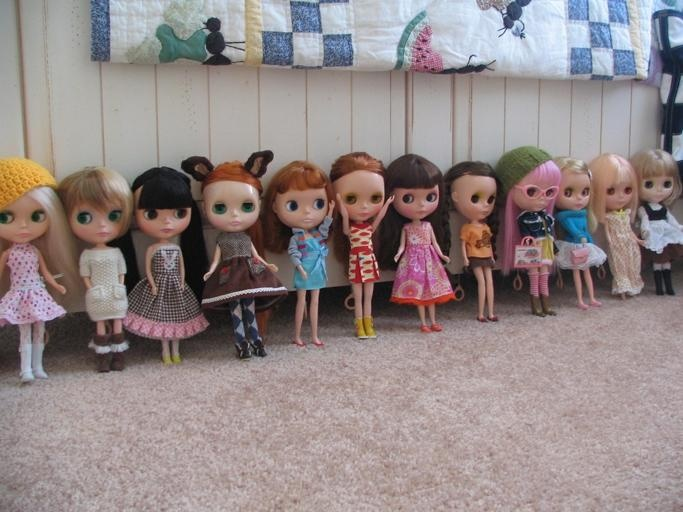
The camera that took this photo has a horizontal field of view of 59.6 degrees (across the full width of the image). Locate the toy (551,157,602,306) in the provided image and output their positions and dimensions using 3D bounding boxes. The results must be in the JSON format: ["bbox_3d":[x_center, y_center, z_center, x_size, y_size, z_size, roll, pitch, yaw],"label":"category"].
[{"bbox_3d":[1.668,-0.174,4.167,0.380,1.008,0.393,-1,11,-1],"label":"toy"}]

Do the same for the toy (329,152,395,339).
[{"bbox_3d":[0.123,-0.078,3.729,0.381,1.115,0.393,-1,11,0],"label":"toy"}]

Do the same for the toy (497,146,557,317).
[{"bbox_3d":[1.240,-0.171,4.020,0.409,1.097,0.274,2,11,16],"label":"toy"}]

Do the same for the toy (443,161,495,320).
[{"bbox_3d":[0.882,-0.115,4.060,0.360,1.042,0.509,1,11,12],"label":"toy"}]
